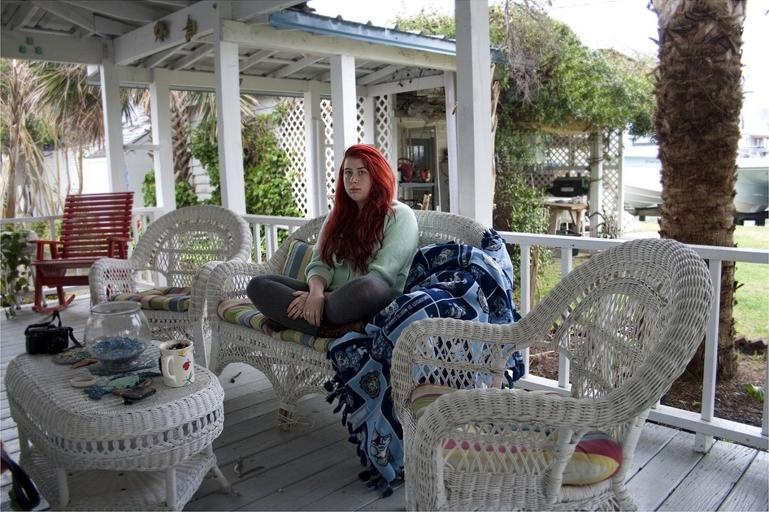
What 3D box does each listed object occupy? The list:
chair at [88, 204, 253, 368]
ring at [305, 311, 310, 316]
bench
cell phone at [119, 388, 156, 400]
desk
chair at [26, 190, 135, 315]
[{"bbox_3d":[-1.434,0.197,4.268,0.905,1.111,0.886,0,3,19],"label":"chair"},{"bbox_3d":[-0.418,0.305,3.339,0.021,0.028,0.012,10,22,22],"label":"ring"},{"bbox_3d":[-0.329,0.332,4.060,1.467,1.008,0.818,3,1,-44],"label":"bench"},{"bbox_3d":[-1.136,0.634,2.847,0.063,0.022,0.084,5,-1,22],"label":"cell phone"},{"bbox_3d":[-1.333,0.875,2.957,1.093,0.667,0.494,1,6,6],"label":"desk"},{"bbox_3d":[-2.839,-0.049,5.814,0.749,1.108,0.847,-1,5,-3],"label":"chair"}]
